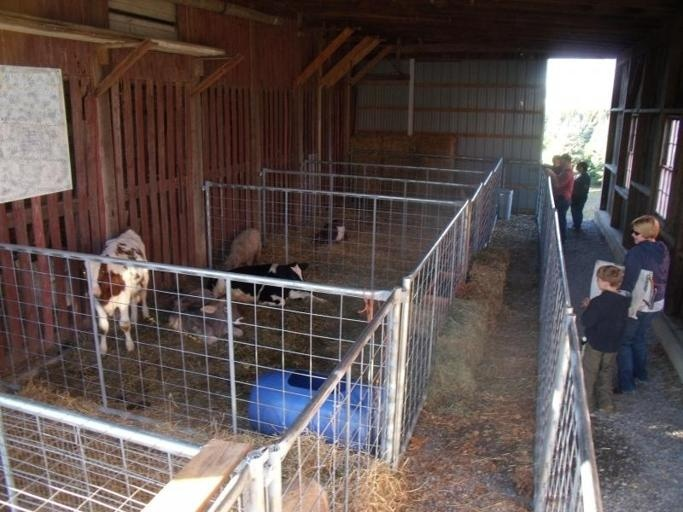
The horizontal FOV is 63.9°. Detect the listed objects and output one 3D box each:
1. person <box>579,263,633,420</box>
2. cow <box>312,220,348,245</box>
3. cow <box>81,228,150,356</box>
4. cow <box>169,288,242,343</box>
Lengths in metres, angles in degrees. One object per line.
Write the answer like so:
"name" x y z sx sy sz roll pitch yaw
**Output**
"person" 2.836 0.914 6.005 0.480 1.676 0.364 6 16 13
"cow" -0.220 -0.491 10.446 0.507 0.527 1.305 5 15 9
"cow" -2.517 0.480 6.320 0.615 1.306 2.116 -3 16 -20
"cow" -1.630 0.753 6.597 0.632 0.628 0.258 -7 15 44
